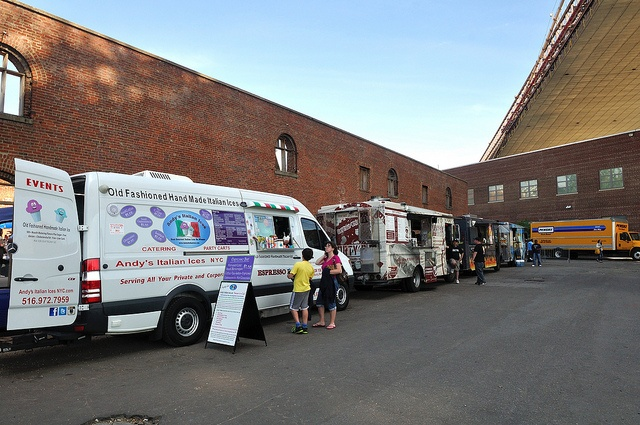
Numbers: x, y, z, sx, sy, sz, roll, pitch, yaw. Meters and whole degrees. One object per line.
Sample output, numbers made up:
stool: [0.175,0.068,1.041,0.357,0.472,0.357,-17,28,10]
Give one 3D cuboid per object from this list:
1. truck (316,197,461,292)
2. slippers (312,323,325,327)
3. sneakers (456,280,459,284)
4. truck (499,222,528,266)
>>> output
truck: [3.078,1.247,17.102,5.176,2.500,3.804,2,-4,-42]
slippers: [-0.076,2.971,10.456,0.298,0.077,0.113,8,-12,-34]
sneakers: [6.840,3.485,19.882,0.105,0.169,0.173,-1,4,21]
truck: [14.720,2.578,30.465,1.610,1.820,3.661,-4,-5,36]
